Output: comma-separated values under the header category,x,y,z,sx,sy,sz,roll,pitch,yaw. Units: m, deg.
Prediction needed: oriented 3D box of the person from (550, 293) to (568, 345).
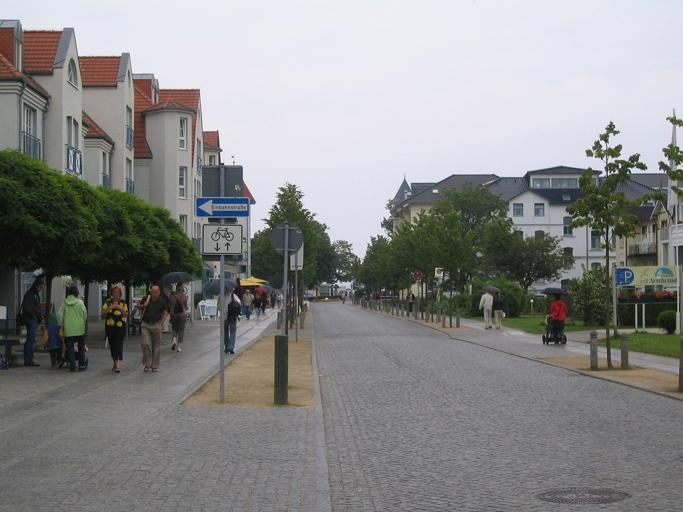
category,x,y,z,sx,sy,sz,roll,pitch,yaw
person,7.153,1.954,31.685,0.556,1.707,0.542,-6,17,-17

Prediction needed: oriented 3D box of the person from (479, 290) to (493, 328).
category,x,y,z,sx,sy,sz,roll,pitch,yaw
person,6.608,2.397,43.268,0.532,1.672,2.739,1,0,9

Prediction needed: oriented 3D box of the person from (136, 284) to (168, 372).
category,x,y,z,sx,sy,sz,roll,pitch,yaw
person,-4.310,1.636,22.004,0.567,1.974,1.103,0,1,-12

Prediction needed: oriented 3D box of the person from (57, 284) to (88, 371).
category,x,y,z,sx,sy,sz,roll,pitch,yaw
person,-6.174,1.652,22.109,0.574,1.927,1.559,0,1,-16

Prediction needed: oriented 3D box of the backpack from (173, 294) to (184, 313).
category,x,y,z,sx,sy,sz,roll,pitch,yaw
backpack,-4.921,1.434,28.795,0.396,0.603,0.341,0,-29,-11

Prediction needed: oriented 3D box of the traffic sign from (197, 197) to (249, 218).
category,x,y,z,sx,sy,sz,roll,pitch,yaw
traffic sign,-2.234,-0.966,18.077,0.957,0.394,0.668,1,0,-12
